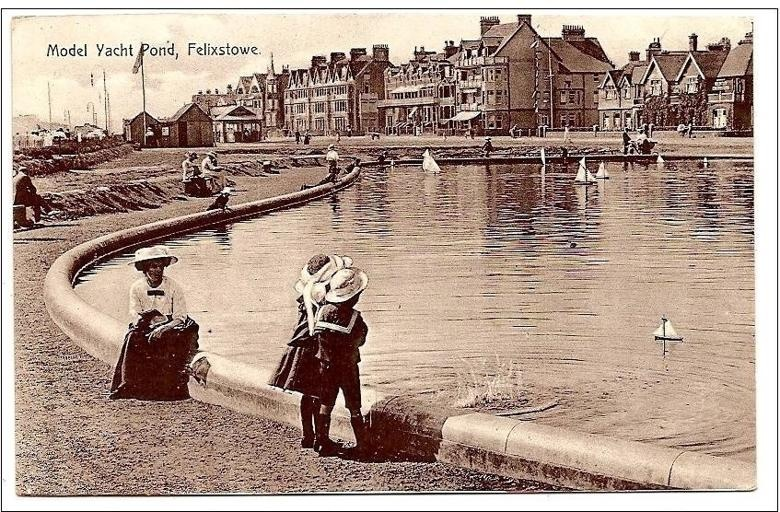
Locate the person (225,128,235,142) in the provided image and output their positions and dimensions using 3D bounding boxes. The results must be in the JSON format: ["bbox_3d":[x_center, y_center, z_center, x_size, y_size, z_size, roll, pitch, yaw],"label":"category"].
[{"bbox_3d":[-15.579,-11.736,93.333,0.876,1.308,1.608,-2,9,-19],"label":"person"}]

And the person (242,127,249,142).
[{"bbox_3d":[-14.223,-11.821,94.307,0.525,1.104,0.764,3,8,12],"label":"person"}]

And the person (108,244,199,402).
[{"bbox_3d":[-2.837,0.811,11.528,1.002,1.895,0.496,-1,9,-10],"label":"person"}]

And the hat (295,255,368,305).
[{"bbox_3d":[-0.622,0.268,10.238,0.804,0.498,0.357,6,10,32],"label":"hat"}]

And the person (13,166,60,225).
[{"bbox_3d":[-9.346,-1.493,25.056,0.803,1.501,3.260,-2,8,-19],"label":"person"}]

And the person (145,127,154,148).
[{"bbox_3d":[-19.137,-9.481,76.602,0.616,1.497,0.932,-2,9,-15],"label":"person"}]
